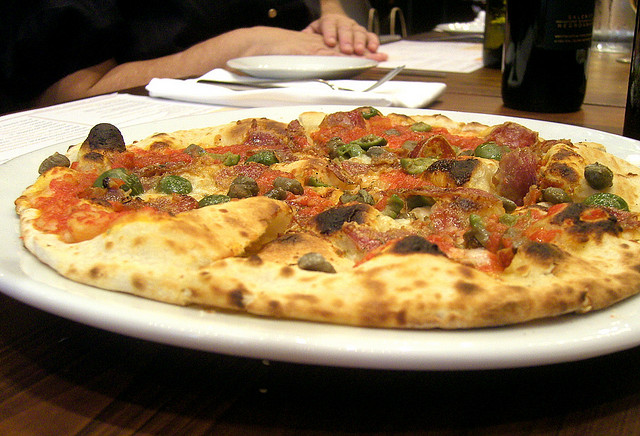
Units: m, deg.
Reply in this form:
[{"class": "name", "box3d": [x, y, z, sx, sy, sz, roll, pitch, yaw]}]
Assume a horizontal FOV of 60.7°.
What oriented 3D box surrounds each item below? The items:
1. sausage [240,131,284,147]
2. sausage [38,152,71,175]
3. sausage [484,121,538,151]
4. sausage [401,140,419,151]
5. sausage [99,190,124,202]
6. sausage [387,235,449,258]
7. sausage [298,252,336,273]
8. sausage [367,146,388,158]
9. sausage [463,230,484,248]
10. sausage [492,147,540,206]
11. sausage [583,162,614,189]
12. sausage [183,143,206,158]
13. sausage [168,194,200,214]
[{"class": "sausage", "box3d": [-0.280, -0.387, 2.678, 0.121, 0.015, 0.115, 4, 33, 5]}, {"class": "sausage", "box3d": [-1.086, -0.227, 2.231, 0.099, 0.031, 0.099, 14, 23, 39]}, {"class": "sausage", "box3d": [0.896, -0.380, 2.506, 0.206, 0.187, 0.051, -9, 44, 20]}, {"class": "sausage", "box3d": [0.443, -0.355, 2.639, 0.067, 0.015, 0.067, 14, 38, 23]}, {"class": "sausage", "box3d": [-0.780, -0.081, 2.049, 0.059, 0.014, 0.056, -5, 28, -46]}, {"class": "sausage", "box3d": [0.284, 0.083, 1.507, 0.115, 0.015, 0.075, 5, 18, -4]}, {"class": "sausage", "box3d": [-0.008, 0.127, 1.523, 0.095, 0.019, 0.050, 13, 32, 3]}, {"class": "sausage", "box3d": [0.267, -0.310, 2.551, 0.076, 0.032, 0.084, -2, 6, -6]}, {"class": "sausage", "box3d": [0.512, 0.068, 1.827, 0.061, 0.016, 0.056, -7, 26, -41]}, {"class": "sausage", "box3d": [0.751, -0.173, 2.071, 0.175, 0.086, 0.220, 15, 70, 23]}, {"class": "sausage", "box3d": [1.029, -0.152, 2.004, 0.088, 0.065, 0.106, 35, 0, 2]}, {"class": "sausage", "box3d": [-0.599, -0.315, 2.550, 0.105, 0.031, 0.082, 11, 30, 12]}, {"class": "sausage", "box3d": [-0.513, -0.054, 2.044, 0.087, 0.010, 0.085, 15, 31, 21]}]
